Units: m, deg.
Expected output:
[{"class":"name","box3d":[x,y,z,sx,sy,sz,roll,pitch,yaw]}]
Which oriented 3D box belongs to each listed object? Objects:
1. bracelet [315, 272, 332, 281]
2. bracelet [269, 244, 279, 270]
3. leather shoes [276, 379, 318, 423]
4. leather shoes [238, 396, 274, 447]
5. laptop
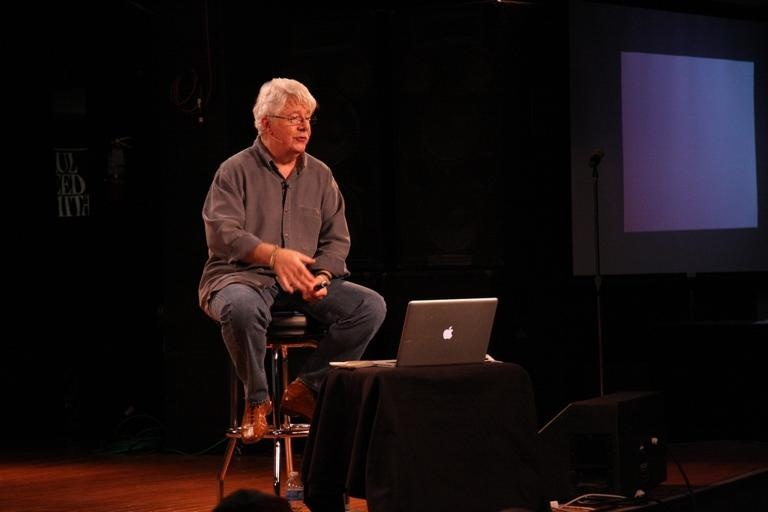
[{"class":"bracelet","box3d":[-0.352,0.121,3.882,0.071,0.075,0.049,1,1,44]},{"class":"bracelet","box3d":[-0.618,0.003,3.707,0.045,0.118,0.028,0,-2,-9]},{"class":"leather shoes","box3d":[-0.466,0.808,3.775,0.214,0.231,0.161,-1,-2,25]},{"class":"leather shoes","box3d":[-0.702,0.911,3.646,0.107,0.116,0.290,-2,16,2]},{"class":"laptop","box3d":[0.300,0.379,3.270,0.453,0.276,0.346,2,2,-29]}]
